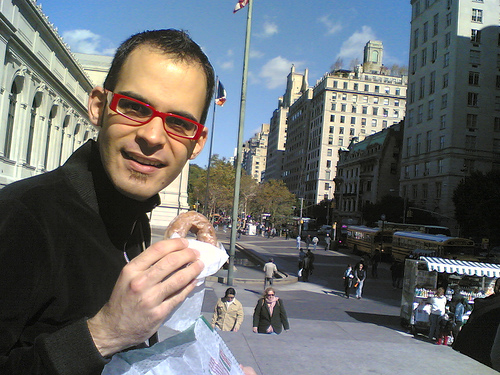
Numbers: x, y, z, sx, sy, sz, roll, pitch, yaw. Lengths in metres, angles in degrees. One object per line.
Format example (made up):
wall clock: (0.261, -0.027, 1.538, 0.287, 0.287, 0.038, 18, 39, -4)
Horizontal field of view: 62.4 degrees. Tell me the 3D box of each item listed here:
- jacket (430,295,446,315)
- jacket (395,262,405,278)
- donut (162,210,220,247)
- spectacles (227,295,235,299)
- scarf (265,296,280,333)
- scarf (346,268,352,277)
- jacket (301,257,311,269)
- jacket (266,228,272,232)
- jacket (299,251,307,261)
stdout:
jacket: (6.177, 3.855, 13.609, 0.441, 0.589, 0.318, 4, -26, 5)
jacket: (8.959, 4.971, 24.804, 0.471, 0.922, 1.610, 4, -7, 17)
donut: (-0.292, 0.199, 2.104, 0.207, 0.119, 0.284, -2, -29, 17)
spectacles: (-0.500, 2.797, 10.592, 0.176, 0.062, 0.107, 7, -7, -2)
scarf: (0.584, 3.413, 11.191, 0.474, 0.707, 0.239, 1, -7, -5)
scarf: (4.826, 4.136, 20.286, 0.076, 0.355, 0.097, 22, -28, 24)
jacket: (3.302, 4.390, 24.220, 0.613, 0.762, 0.403, 3, 6, 12)
jacket: (3.389, 7.745, 75.832, 1.360, 0.480, 1.703, 0, 0, 0)
jacket: (3.230, 4.082, 24.776, 0.522, 0.793, 0.423, 1, 0, 6)
